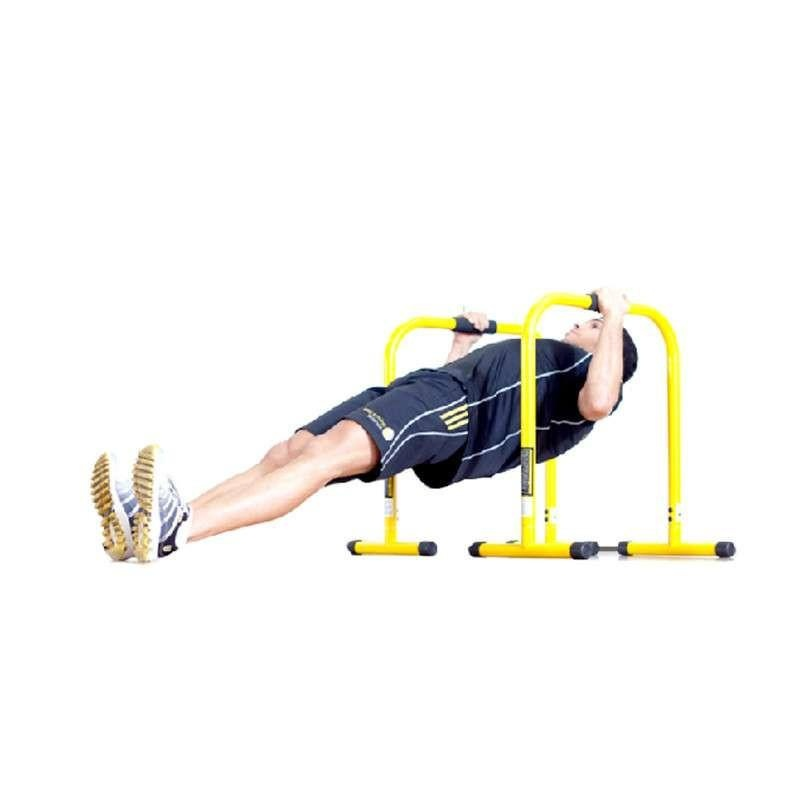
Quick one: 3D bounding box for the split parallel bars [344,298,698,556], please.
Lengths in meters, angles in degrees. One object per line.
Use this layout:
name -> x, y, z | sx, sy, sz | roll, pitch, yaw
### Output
split parallel bars -> 0.448, 0.104, 4.504 | 1.057, 0.836, 1.261 | 3, -6, -19

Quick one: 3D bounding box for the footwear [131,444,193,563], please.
footwear -> -0.603, 0.263, 3.535 | 0.121, 0.304, 0.099 | 7, -13, -36

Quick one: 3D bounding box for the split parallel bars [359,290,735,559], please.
split parallel bars -> 0.443, 0.105, 4.489 | 0.745, 0.865, 1.129 | 7, -10, -39

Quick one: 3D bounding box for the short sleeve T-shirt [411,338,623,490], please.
short sleeve T-shirt -> 0.380, 0.013, 4.320 | 0.485, 0.549, 0.393 | 2, 8, 8
